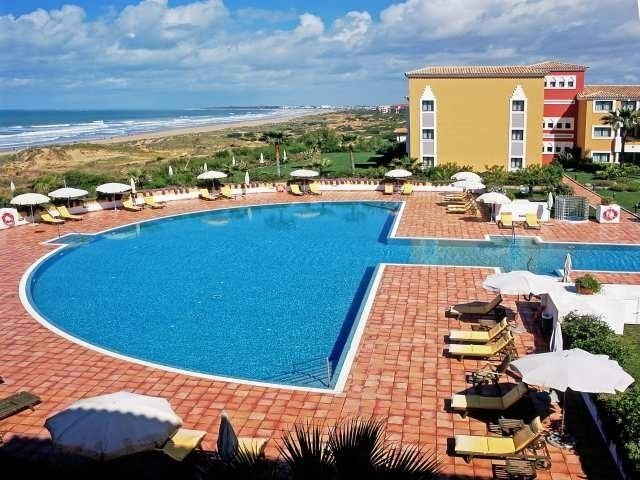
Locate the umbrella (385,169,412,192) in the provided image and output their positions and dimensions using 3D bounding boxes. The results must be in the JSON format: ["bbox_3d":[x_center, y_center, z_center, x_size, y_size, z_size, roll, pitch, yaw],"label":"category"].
[{"bbox_3d":[6.023,-4.429,32.009,2.767,1.503,2.232,-1,16,5],"label":"umbrella"}]

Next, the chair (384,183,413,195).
[{"bbox_3d":[5.995,-3.939,31.803,2.115,0.843,1.331,-1,16,6],"label":"chair"}]

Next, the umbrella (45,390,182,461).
[{"bbox_3d":[-3.428,3.078,6.864,2.000,0.536,0.946,0,16,9],"label":"umbrella"}]

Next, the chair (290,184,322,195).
[{"bbox_3d":[-1.296,-4.017,32.758,2.037,0.872,2.488,-8,16,-19],"label":"chair"}]

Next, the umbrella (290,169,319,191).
[{"bbox_3d":[-1.273,-4.852,33.648,2.562,1.534,2.369,1,12,12],"label":"umbrella"}]

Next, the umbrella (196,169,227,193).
[{"bbox_3d":[-8.131,-4.693,33.687,2.908,1.586,2.600,-13,24,-21],"label":"umbrella"}]

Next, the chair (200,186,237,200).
[{"bbox_3d":[-8.197,-3.689,32.658,2.446,0.901,2.482,-8,17,-21],"label":"chair"}]

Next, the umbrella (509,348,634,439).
[{"bbox_3d":[4.879,2.535,8.314,2.109,1.402,1.800,-7,16,-12],"label":"umbrella"}]

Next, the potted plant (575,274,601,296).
[{"bbox_3d":[8.490,1.359,13.041,0.760,0.408,0.613,-6,30,-7],"label":"potted plant"}]
